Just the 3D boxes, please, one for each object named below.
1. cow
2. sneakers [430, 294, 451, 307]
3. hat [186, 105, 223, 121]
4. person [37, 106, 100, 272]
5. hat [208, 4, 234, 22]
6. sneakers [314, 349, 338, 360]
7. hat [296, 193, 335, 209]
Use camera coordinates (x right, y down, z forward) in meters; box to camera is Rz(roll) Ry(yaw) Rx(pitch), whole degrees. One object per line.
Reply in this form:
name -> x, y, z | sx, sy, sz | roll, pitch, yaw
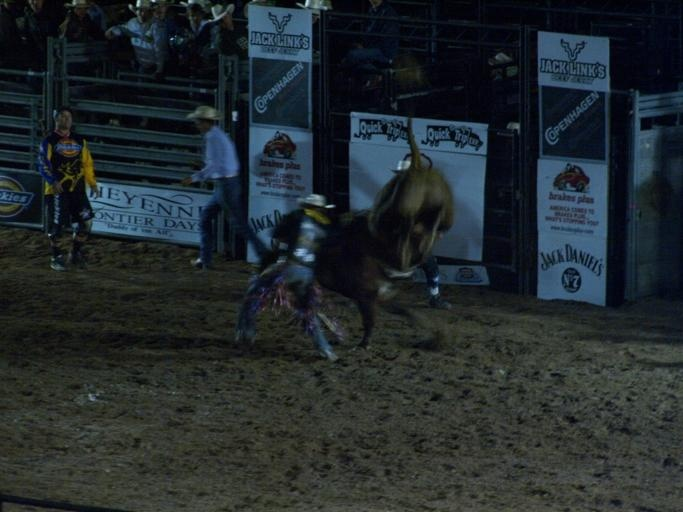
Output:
cow -> 0.025, -0.063, 13.976 | 1.094, 2.562, 3.598 | 17, 29, 31
sneakers -> 1.446, 0.658, 17.257 | 0.314, 0.170, 0.162 | -5, 12, 7
hat -> -2.062, -2.063, 17.231 | 0.382, 0.127, 0.323 | -1, 2, 16
person -> -4.101, -0.965, 17.456 | 0.842, 2.383, 0.425 | -3, 7, -41
hat -> -1.990, -4.052, 19.606 | 0.375, 0.310, 0.341 | 0, 5, -18
sneakers -> -0.177, 1.254, 14.891 | 0.225, 0.069, 0.124 | 18, 23, 26
hat -> -0.326, -0.640, 14.023 | 0.338, 0.098, 0.287 | 7, 1, -7
